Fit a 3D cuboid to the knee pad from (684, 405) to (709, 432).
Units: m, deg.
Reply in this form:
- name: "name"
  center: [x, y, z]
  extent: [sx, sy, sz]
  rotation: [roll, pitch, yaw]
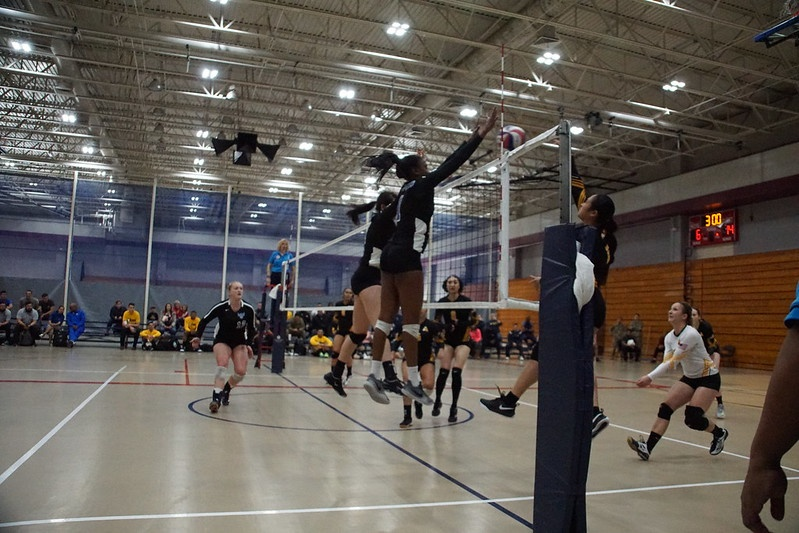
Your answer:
- name: "knee pad"
  center: [4.052, 2.072, 8.149]
  extent: [0.361, 0.161, 0.266]
  rotation: [18, 2, -34]

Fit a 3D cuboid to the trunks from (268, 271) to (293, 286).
- name: "trunks"
  center: [-2.834, 0.285, 14.198]
  extent: [0.544, 0.505, 0.321]
  rotation: [1, 0, 4]

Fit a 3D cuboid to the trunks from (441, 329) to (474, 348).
- name: "trunks"
  center: [0.904, 1.148, 9.403]
  extent: [0.408, 0.234, 0.293]
  rotation: [0, 10, 10]

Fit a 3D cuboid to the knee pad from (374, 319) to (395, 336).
- name: "knee pad"
  center: [-0.174, 0.758, 7.484]
  extent: [0.205, 0.157, 0.205]
  rotation: [21, 1, -35]

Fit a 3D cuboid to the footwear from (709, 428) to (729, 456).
- name: "footwear"
  center: [4.325, 2.381, 8.117]
  extent: [0.152, 0.368, 0.132]
  rotation: [11, 8, -2]

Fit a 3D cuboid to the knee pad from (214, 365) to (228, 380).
- name: "knee pad"
  center: [-2.738, 1.629, 9.195]
  extent: [0.135, 0.185, 0.200]
  rotation: [4, -5, -22]

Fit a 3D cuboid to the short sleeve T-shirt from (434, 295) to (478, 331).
- name: "short sleeve T-shirt"
  center: [0.875, 0.804, 9.426]
  extent: [0.717, 0.741, 0.439]
  rotation: [1, 22, 14]

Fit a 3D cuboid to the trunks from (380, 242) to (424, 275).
- name: "trunks"
  center: [0.017, -0.085, 7.244]
  extent: [0.331, 0.314, 0.457]
  rotation: [-2, 3, -39]

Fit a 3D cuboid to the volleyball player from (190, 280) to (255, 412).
- name: "volleyball player"
  center: [-2.755, 1.250, 9.545]
  extent: [0.672, 2.000, 0.907]
  rotation: [0, -5, 25]

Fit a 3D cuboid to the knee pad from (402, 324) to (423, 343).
- name: "knee pad"
  center: [0.173, 0.822, 7.423]
  extent: [0.233, 0.181, 0.219]
  rotation: [1, -1, -26]

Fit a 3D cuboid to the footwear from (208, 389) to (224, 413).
- name: "footwear"
  center: [-2.821, 2.085, 9.243]
  extent: [0.108, 0.328, 0.231]
  rotation: [6, 27, -5]

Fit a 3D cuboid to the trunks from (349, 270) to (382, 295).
- name: "trunks"
  center: [-0.457, 0.180, 8.099]
  extent: [0.311, 0.322, 0.446]
  rotation: [2, -9, 2]

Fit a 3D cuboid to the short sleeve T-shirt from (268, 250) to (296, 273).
- name: "short sleeve T-shirt"
  center: [-2.783, -0.099, 14.238]
  extent: [0.608, 0.516, 0.337]
  rotation: [8, -19, 0]

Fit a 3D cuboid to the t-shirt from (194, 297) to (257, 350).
- name: "t-shirt"
  center: [-2.650, 0.951, 9.773]
  extent: [0.930, 0.868, 0.435]
  rotation: [1, 5, 21]

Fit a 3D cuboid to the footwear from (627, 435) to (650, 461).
- name: "footwear"
  center: [3.169, 2.395, 7.906]
  extent: [0.256, 0.279, 0.336]
  rotation: [0, -5, 27]

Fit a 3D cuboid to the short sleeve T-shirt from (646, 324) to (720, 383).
- name: "short sleeve T-shirt"
  center: [3.988, 1.234, 8.452]
  extent: [1.064, 0.793, 0.579]
  rotation: [-2, -5, 1]

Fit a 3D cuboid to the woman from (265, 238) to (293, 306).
- name: "woman"
  center: [-2.783, 0.307, 14.084]
  extent: [0.663, 1.872, 0.476]
  rotation: [3, 6, -3]

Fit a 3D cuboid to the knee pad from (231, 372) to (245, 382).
- name: "knee pad"
  center: [-2.589, 1.781, 9.547]
  extent: [0.154, 0.141, 0.265]
  rotation: [4, -5, -20]
